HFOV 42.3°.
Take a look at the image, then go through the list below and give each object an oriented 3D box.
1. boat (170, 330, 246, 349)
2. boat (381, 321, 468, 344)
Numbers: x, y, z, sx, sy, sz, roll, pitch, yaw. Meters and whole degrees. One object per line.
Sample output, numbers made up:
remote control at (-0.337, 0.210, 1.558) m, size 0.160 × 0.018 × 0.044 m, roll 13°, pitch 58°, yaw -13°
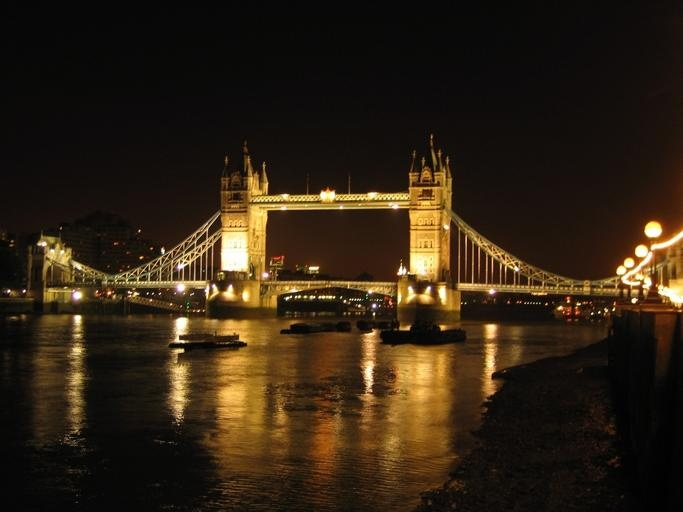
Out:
boat at (-8.423, 5.428, 55.711) m, size 3.491 × 0.628 × 4.425 m, roll 1°, pitch 1°, yaw 42°
boat at (6.094, 5.487, 62.881) m, size 6.502 × 1.413 × 3.119 m, roll 0°, pitch 1°, yaw -30°
